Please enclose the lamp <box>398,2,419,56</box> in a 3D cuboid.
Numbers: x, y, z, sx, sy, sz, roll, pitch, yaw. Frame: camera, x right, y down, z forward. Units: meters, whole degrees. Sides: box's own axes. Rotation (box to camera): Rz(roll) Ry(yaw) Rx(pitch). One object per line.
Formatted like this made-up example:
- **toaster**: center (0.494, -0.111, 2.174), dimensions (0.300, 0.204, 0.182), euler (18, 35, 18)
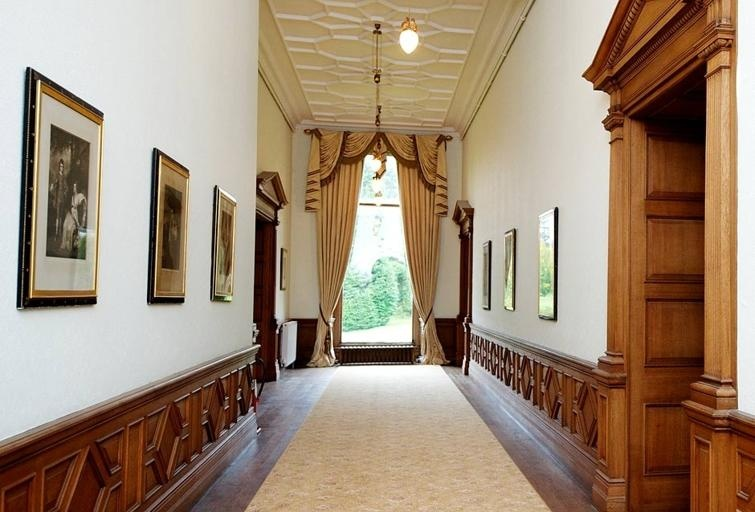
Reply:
- **lamp**: center (0.445, -3.103, 6.735), dimensions (0.263, 0.600, 0.260), euler (-11, 18, -42)
